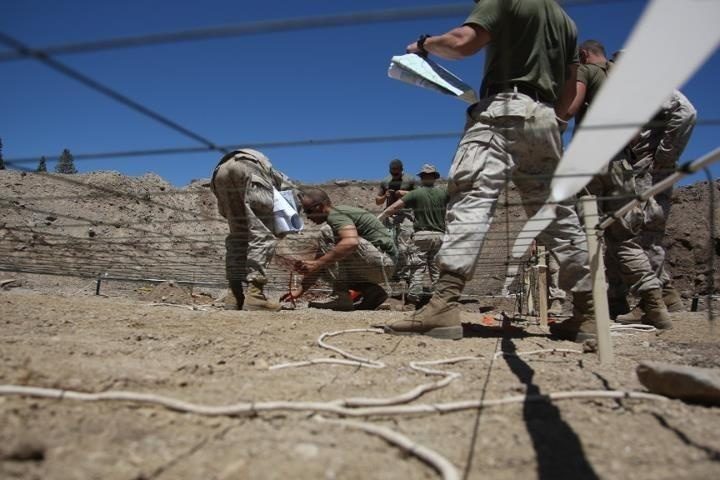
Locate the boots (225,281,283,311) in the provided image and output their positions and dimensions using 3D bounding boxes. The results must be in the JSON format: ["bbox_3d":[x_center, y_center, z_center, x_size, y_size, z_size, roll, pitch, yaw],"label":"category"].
[{"bbox_3d":[-0.997,0.514,4.951,0.545,0.326,0.307,12,16,40],"label":"boots"}]

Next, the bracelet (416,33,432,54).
[{"bbox_3d":[0.417,-1.295,3.484,0.070,0.122,0.135,4,13,3],"label":"bracelet"}]

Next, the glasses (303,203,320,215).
[{"bbox_3d":[-0.508,-0.304,5.259,0.214,0.106,0.084,12,16,40],"label":"glasses"}]

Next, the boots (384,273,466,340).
[{"bbox_3d":[0.388,0.444,3.618,0.676,0.456,0.263,3,4,-16],"label":"boots"}]

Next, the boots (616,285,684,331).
[{"bbox_3d":[2.519,0.566,4.466,0.290,0.307,0.817,-22,-12,7],"label":"boots"}]

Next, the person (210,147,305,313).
[{"bbox_3d":[-1.023,-0.098,4.997,0.710,1.513,1.066,-1,14,-15],"label":"person"}]
